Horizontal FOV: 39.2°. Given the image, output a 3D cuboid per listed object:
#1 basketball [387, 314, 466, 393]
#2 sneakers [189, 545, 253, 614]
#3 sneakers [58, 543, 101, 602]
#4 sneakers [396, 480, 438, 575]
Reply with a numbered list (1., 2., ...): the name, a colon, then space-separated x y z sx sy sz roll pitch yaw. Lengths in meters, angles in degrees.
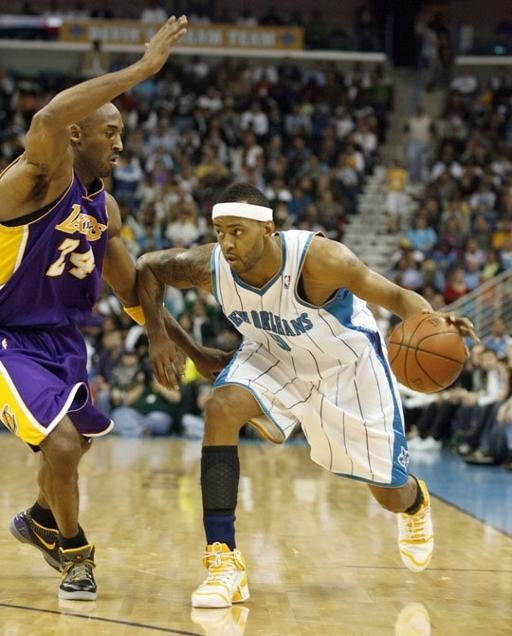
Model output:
1. basketball: 0.572 0.105 2.511 0.301 0.246 0.282 6 27 27
2. sneakers: -0.104 0.865 2.343 0.183 0.184 0.230 9 40 3
3. sneakers: -0.585 0.848 2.363 0.121 0.120 0.202 -3 40 -11
4. sneakers: 0.641 0.827 2.881 0.140 0.158 0.362 -5 71 10
